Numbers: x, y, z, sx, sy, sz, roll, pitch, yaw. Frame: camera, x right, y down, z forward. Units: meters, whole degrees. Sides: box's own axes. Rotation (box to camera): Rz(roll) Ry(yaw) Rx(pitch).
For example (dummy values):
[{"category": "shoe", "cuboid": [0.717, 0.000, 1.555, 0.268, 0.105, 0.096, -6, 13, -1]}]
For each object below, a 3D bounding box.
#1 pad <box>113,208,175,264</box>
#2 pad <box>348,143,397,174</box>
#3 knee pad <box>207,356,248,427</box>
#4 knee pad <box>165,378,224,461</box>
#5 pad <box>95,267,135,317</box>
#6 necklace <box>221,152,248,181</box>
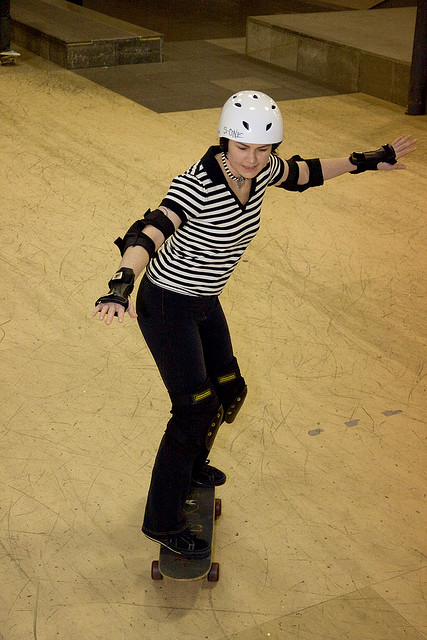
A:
[{"category": "pad", "cuboid": [-0.178, -0.245, 1.594, 0.063, 0.167, 0.124, 53, 10, 0]}, {"category": "pad", "cuboid": [0.673, -0.680, 2.433, 0.212, 0.139, 0.156, 0, 34, 6]}, {"category": "knee pad", "cuboid": [0.022, 0.260, 2.222, 0.222, 0.291, 0.098, -2, 35, -20]}, {"category": "knee pad", "cuboid": [-0.061, 0.332, 1.853, 0.181, 0.261, 0.202, 13, 11, 6]}, {"category": "pad", "cuboid": [-0.252, -0.074, 1.492, 0.087, 0.127, 0.145, 7, 9, -9]}, {"category": "necklace", "cuboid": [0.063, -0.426, 1.603, 0.075, 0.084, 0.022, -1, 13, 1]}]
